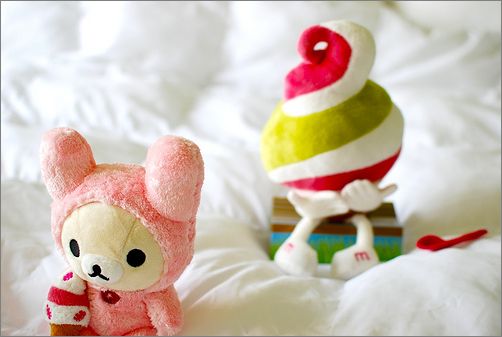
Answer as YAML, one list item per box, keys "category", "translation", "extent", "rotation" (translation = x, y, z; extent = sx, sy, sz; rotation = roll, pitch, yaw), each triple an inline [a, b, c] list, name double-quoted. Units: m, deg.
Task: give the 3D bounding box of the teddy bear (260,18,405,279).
- category: "teddy bear"
  translation: [0.207, -0.043, 1.621]
  extent: [0.391, 0.659, 0.363]
  rotation: [-2, 6, -6]
